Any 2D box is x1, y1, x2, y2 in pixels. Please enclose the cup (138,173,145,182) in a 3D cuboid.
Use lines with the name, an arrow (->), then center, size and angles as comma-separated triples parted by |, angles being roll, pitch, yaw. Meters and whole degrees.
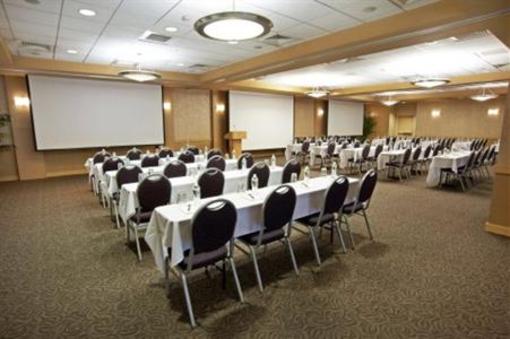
cup -> -2.292, 0.152, 6.178 | 0.096, 0.101, 0.171 | 1, 7, -12

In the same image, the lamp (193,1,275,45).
lamp -> -0.402, -2.598, 5.453 | 1.337, 0.329, 0.785 | -1, 9, -6

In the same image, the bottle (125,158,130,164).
bottle -> -3.452, -0.258, 8.392 | 0.150, 0.172, 0.436 | -3, 1, -28

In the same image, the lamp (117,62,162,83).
lamp -> -3.786, -3.292, 10.038 | 1.056, 0.517, 1.043 | -2, 0, -8

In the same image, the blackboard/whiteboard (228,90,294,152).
blackboard/whiteboard -> 0.147, -2.623, 15.947 | 3.792, 2.653, 0.136 | -4, 10, -32

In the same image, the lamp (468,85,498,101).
lamp -> 11.651, -4.032, 15.763 | 0.737, 0.403, 0.722 | -9, 8, -25

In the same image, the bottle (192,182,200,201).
bottle -> -0.966, 0.364, 5.010 | 0.089, 0.257, 0.148 | -4, 11, -19

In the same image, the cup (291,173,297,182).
cup -> 0.772, 0.143, 6.105 | 0.165, 0.175, 0.165 | 0, -2, 0

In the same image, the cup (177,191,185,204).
cup -> -1.201, 0.451, 4.995 | 0.119, 0.166, 0.148 | -4, 10, -20

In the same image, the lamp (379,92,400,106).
lamp -> 8.133, -4.462, 18.855 | 1.277, 0.858, 1.265 | -2, 7, 2

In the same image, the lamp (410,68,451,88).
lamp -> 6.443, -3.502, 11.364 | 1.142, 0.256, 1.129 | 0, 5, -2
